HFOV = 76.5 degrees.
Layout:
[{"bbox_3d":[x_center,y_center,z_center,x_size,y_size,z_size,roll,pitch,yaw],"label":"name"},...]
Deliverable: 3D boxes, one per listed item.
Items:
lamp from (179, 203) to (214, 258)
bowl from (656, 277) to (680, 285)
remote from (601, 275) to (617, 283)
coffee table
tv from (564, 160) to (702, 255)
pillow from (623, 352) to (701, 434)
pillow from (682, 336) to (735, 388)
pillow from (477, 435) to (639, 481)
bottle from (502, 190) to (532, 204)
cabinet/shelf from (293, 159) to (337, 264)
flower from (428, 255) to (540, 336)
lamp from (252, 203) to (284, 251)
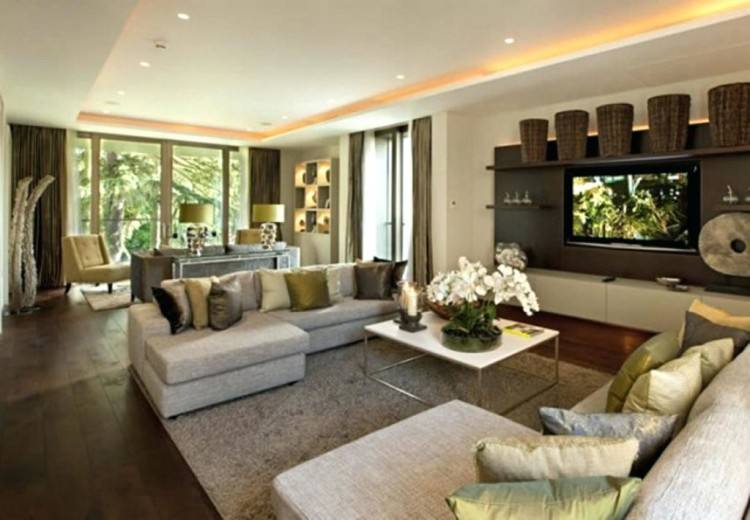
[{"bbox_3d":[-2.785,-0.477,7.296,0.461,0.733,0.460,1,-4,-7],"label":"lamp"},{"bbox_3d":[3.372,0.242,5.461,0.246,0.088,0.275,3,9,33],"label":"bowl"},{"bbox_3d":[2.870,0.231,5.831,0.367,0.040,0.045,-6,9,-44],"label":"remote"},{"bbox_3d":[0.608,0.703,3.987,0.976,0.405,0.959,-3,5,-43],"label":"coffee table"},{"bbox_3d":[3.171,-0.652,5.749,0.094,0.829,1.172,1,-2,-44],"label":"tv"},{"bbox_3d":[1.442,0.677,2.380,0.322,0.261,0.175,1,31,-47],"label":"pillow"},{"bbox_3d":[1.806,0.526,2.566,0.085,0.259,0.260,27,-21,-30],"label":"pillow"},{"bbox_3d":[0.767,0.863,2.070,0.662,0.193,0.434,-1,-33,3],"label":"pillow"},{"bbox_3d":[1.995,-0.884,6.647,0.233,0.142,0.083,2,3,45],"label":"bottle"},{"bbox_3d":[-1.210,-0.947,9.651,0.530,2.107,1.756,-6,8,-26],"label":"cabinet/shelf"},{"bbox_3d":[0.934,0.313,4.098,0.681,0.630,1.063,17,5,18],"label":"flower"},{"bbox_3d":[-1.839,-0.598,8.528,0.511,0.784,0.508,2,7,2],"label":"lamp"}]
